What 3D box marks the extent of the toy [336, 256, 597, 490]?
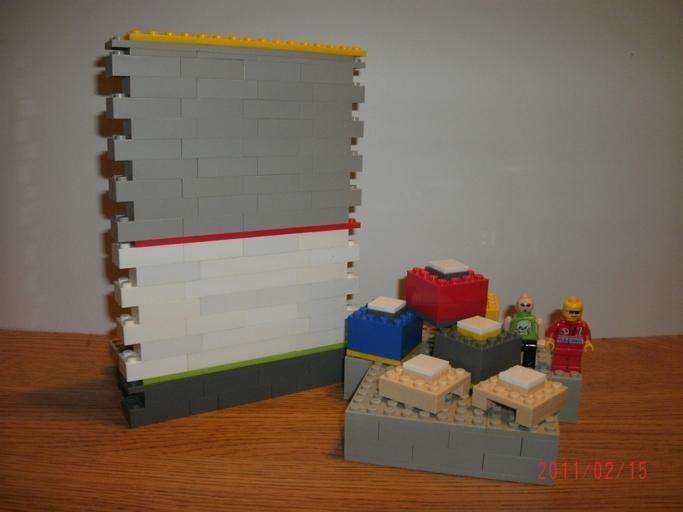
[{"bbox_3d":[0.716,0.872,3.797,1.266,0.563,0.589,7,6,11],"label":"toy"}]
